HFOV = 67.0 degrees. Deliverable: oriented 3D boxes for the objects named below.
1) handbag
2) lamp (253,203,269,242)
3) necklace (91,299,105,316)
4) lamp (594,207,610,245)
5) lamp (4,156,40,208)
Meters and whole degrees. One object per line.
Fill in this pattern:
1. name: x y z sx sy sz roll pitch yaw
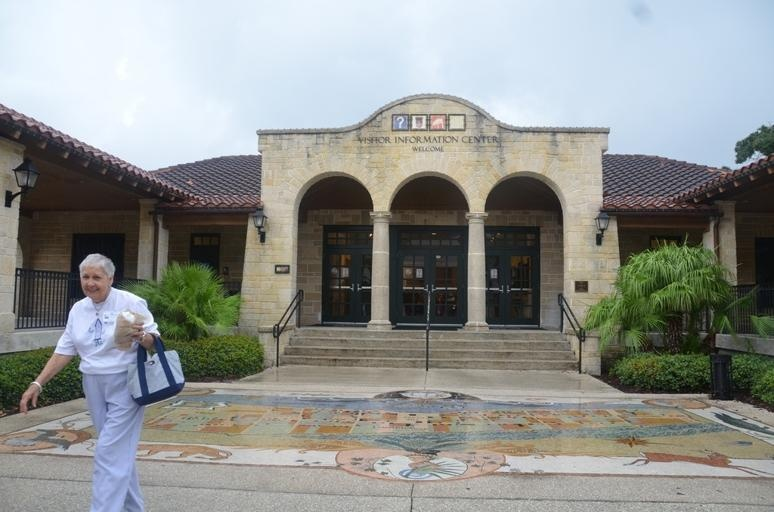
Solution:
1. handbag: -2.386 1.195 6.028 0.521 0.715 0.210 3 -8 -20
2. lamp: -3.457 -0.881 15.889 0.385 0.986 0.744 2 -7 -11
3. necklace: -3.027 0.535 6.121 0.164 0.176 0.047 0 1 -4
4. lamp: 5.696 -0.763 15.483 0.358 0.949 0.578 -2 -7 18
5. lamp: -7.211 -1.453 11.513 0.618 1.053 0.427 -4 -9 34
